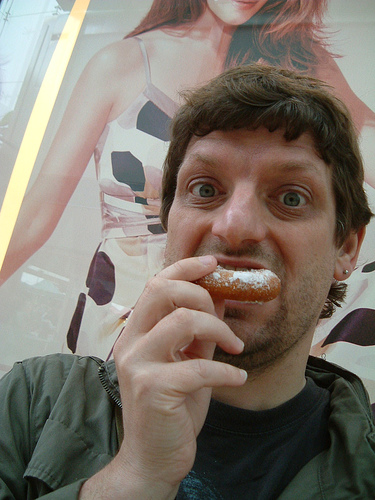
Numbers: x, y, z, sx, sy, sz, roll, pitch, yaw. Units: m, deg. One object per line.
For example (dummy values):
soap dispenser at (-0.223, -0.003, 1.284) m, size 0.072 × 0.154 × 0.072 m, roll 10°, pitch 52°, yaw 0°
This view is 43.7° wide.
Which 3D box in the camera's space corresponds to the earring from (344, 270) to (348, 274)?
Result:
earring at (0.872, 0.118, 2.564) m, size 0.017 × 0.014 × 0.016 m, roll 0°, pitch -4°, yaw 5°

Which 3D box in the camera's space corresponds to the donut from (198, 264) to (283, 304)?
donut at (0.256, 0.135, 2.075) m, size 0.338 × 0.103 × 0.276 m, roll 6°, pitch 11°, yaw 29°
